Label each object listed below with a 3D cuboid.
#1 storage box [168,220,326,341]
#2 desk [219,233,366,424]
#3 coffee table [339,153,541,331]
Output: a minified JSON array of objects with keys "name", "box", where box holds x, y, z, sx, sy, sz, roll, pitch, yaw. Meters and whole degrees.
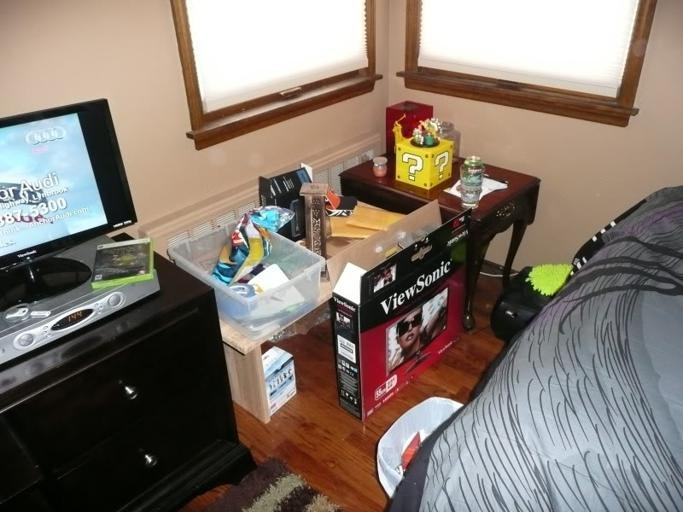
[{"name":"storage box","box":[-0.386,0.081,1.935,0.520,0.186,0.397,25,37,33]},{"name":"desk","box":[-0.200,0.294,1.966,0.346,0.387,0.648,23,47,22]},{"name":"coffee table","box":[0.515,-0.130,2.760,0.851,0.681,0.681,21,36,32]}]
